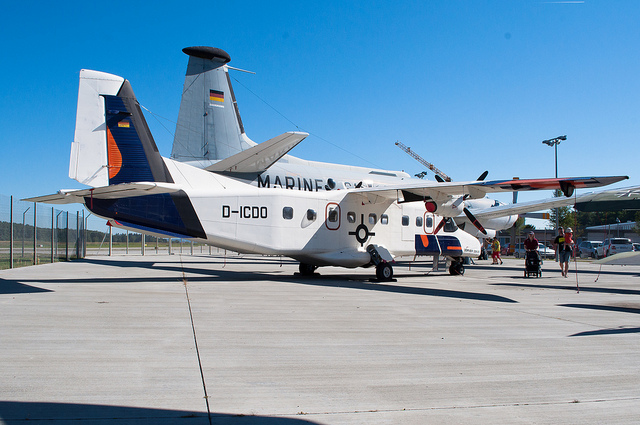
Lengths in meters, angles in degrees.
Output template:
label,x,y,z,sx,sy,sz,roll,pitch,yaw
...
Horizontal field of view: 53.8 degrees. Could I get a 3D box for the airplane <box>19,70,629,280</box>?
label,x,y,z,sx,sy,sz,roll,pitch,yaw
airplane,-1.516,-0.238,17.933,8.239,2.857,10.367,4,-2,-37

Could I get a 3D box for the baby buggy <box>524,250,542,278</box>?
label,x,y,z,sx,sy,sz,roll,pitch,yaw
baby buggy,7.545,1.781,22.399,0.769,0.798,0.896,1,-2,13
